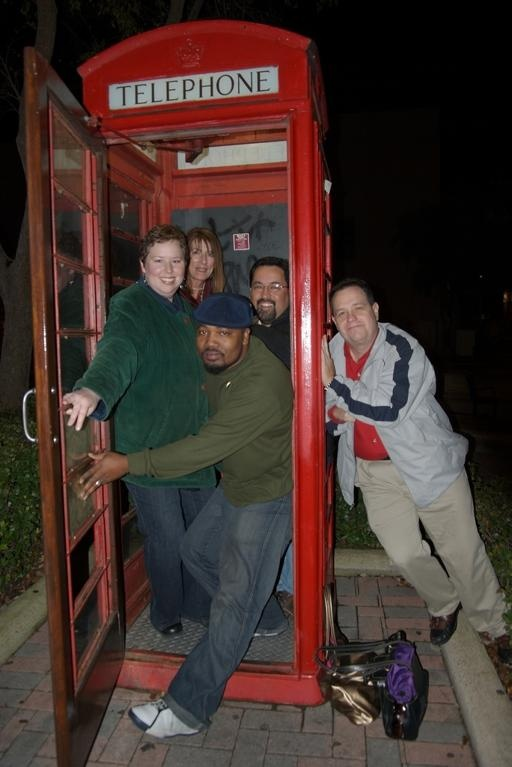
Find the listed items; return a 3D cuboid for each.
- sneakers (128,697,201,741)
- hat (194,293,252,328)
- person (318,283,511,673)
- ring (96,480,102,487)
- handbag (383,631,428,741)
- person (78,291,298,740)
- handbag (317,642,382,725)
[{"bbox_3d":[-0.375,1.328,2.390,0.314,0.147,0.125,18,-24,0],"label":"sneakers"},{"bbox_3d":[-0.129,-0.297,2.437,0.242,0.150,0.167,-2,5,-7],"label":"hat"},{"bbox_3d":[0.782,0.423,2.886,0.884,1.841,0.570,-1,5,6],"label":"person"},{"bbox_3d":[-0.608,0.388,2.291,0.017,0.008,0.023,8,43,-16],"label":"ring"},{"bbox_3d":[0.606,1.246,2.411,0.199,0.091,0.374,-4,38,11],"label":"handbag"},{"bbox_3d":[-0.219,0.521,2.476,0.559,1.773,0.659,2,6,31],"label":"person"},{"bbox_3d":[0.407,1.262,2.574,0.239,0.267,0.361,-1,5,6],"label":"handbag"}]
